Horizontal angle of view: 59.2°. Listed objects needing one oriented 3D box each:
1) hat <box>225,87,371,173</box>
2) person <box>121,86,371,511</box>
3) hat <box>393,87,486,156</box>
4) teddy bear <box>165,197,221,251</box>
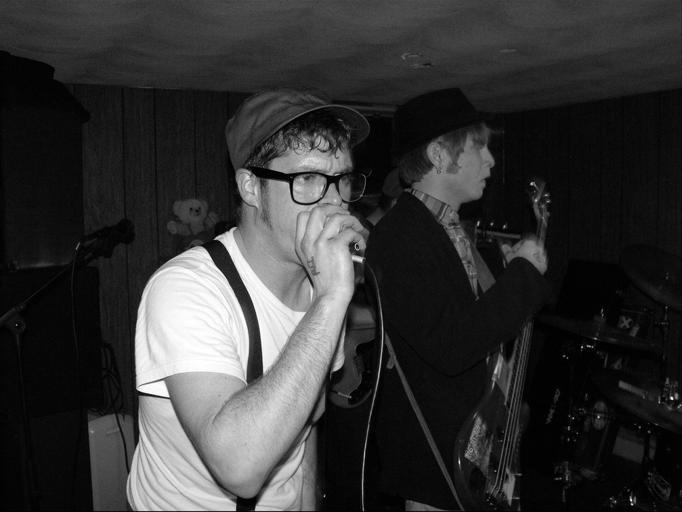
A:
[{"bbox_3d":[-0.161,-0.430,2.095,0.388,0.214,0.282,-30,-4,20],"label":"hat"},{"bbox_3d":[-0.272,0.164,1.938,0.772,1.439,0.592,2,5,-19],"label":"person"},{"bbox_3d":[0.432,-0.595,2.780,0.282,0.137,0.358,-29,4,-43],"label":"hat"},{"bbox_3d":[-1.146,-0.212,4.670,0.358,0.444,0.212,-5,-11,-30],"label":"teddy bear"}]
